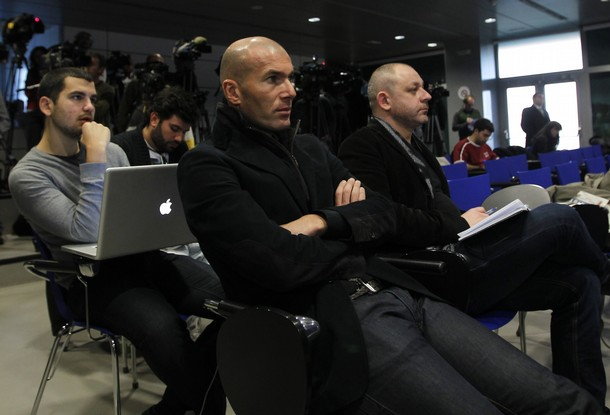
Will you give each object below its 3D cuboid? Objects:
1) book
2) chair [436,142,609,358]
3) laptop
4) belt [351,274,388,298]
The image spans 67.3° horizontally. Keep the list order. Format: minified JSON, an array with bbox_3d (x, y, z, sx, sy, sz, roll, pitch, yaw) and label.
[{"bbox_3d":[0.710,0.032,1.880,0.311,0.103,0.333,-27,-17,40],"label":"book"},{"bbox_3d":[1.417,0.244,2.878,0.896,1.374,0.948,1,-4,-25],"label":"chair"},{"bbox_3d":[-0.767,-0.013,2.101,0.344,0.391,0.586,9,10,28],"label":"laptop"},{"bbox_3d":[0.234,0.287,1.685,0.102,0.040,0.079,-3,42,-24],"label":"belt"}]
